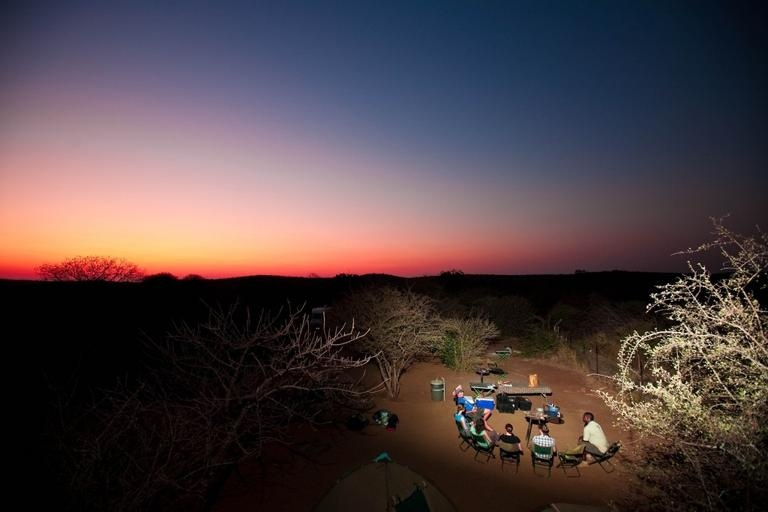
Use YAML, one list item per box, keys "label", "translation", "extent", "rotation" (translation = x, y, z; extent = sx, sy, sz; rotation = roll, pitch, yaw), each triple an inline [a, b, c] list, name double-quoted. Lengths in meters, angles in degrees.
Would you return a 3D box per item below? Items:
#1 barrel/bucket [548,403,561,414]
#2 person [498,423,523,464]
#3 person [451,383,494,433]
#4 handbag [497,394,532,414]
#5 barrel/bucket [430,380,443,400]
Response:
- label: "barrel/bucket"
  translation: [6.656, 5.956, 19.272]
  extent: [0.475, 0.326, 0.638]
  rotation: [1, -8, 14]
- label: "person"
  translation: [4.345, 6.355, 16.940]
  extent: [0.823, 1.354, 1.504]
  rotation: [-3, -5, 14]
- label: "person"
  translation: [3.583, 5.961, 19.410]
  extent: [1.390, 2.112, 0.972]
  rotation: [-14, 8, 13]
- label: "handbag"
  translation: [5.228, 6.028, 20.102]
  extent: [0.902, 0.407, 0.916]
  rotation: [0, -5, 2]
- label: "barrel/bucket"
  translation: [2.370, 5.992, 21.864]
  extent: [0.543, 0.851, 0.381]
  rotation: [-2, -4, -3]
